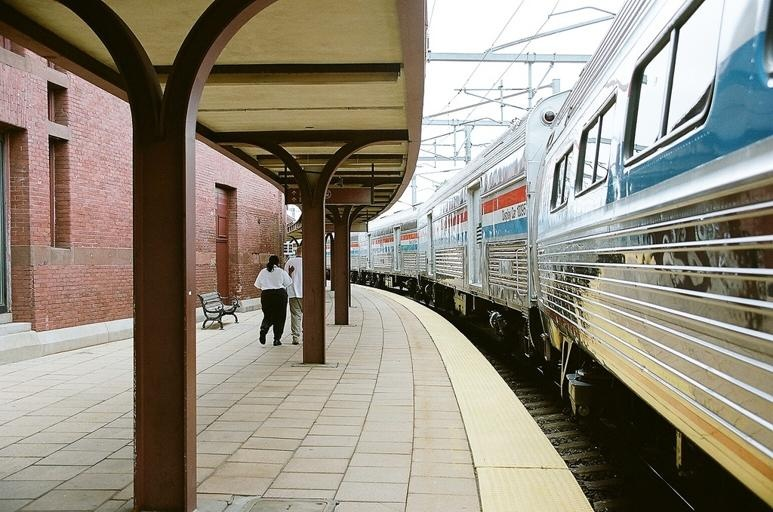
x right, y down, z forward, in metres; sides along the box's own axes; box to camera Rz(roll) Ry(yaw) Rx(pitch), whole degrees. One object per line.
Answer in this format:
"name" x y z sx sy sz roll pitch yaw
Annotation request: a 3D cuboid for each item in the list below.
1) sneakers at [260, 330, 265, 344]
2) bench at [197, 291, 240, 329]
"sneakers" -2.590 1.678 11.342 0.139 0.273 0.173 2 -9 -11
"bench" -4.699 1.437 15.197 0.668 0.763 1.545 5 2 -2
